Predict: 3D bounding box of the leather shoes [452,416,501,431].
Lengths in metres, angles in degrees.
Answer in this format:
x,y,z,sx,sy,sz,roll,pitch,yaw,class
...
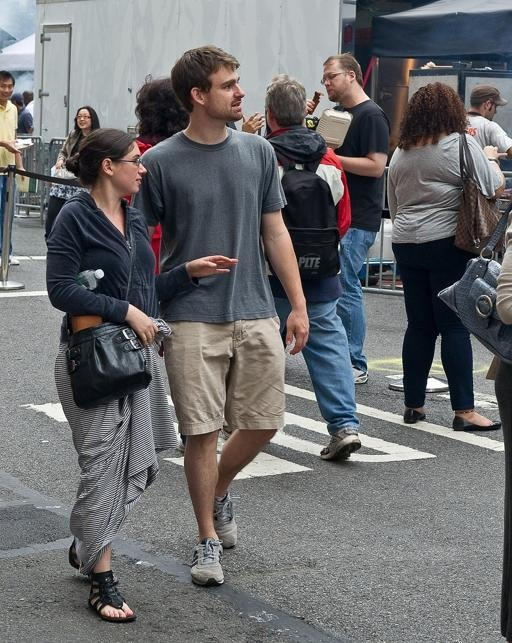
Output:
x,y,z,sx,sy,sz,roll,pitch,yaw,class
1.496,0.689,4.792,0.365,0.115,0.109,-1,2,-5,leather shoes

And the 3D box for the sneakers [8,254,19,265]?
x,y,z,sx,sy,sz,roll,pitch,yaw,class
-3.796,-0.958,11.207,0.116,0.106,0.286,-1,5,-23,sneakers

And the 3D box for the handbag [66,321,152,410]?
x,y,z,sx,sy,sz,roll,pitch,yaw,class
-0.430,0.117,2.054,0.230,0.189,0.135,-21,-19,-9,handbag

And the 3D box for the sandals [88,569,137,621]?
x,y,z,sx,sy,sz,roll,pitch,yaw,class
-0.448,0.813,2.171,0.086,0.090,0.216,-4,7,-31,sandals

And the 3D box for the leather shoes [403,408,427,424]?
x,y,z,sx,sy,sz,roll,pitch,yaw,class
1.079,0.643,4.901,0.075,0.065,0.175,2,5,17,leather shoes

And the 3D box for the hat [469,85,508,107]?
x,y,z,sx,sy,sz,roll,pitch,yaw,class
2.813,-2.661,8.455,0.444,0.184,0.265,-7,20,-13,hat

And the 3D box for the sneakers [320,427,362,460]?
x,y,z,sx,sy,sz,roll,pitch,yaw,class
0.516,0.698,4.095,0.127,0.130,0.293,-11,-13,-32,sneakers

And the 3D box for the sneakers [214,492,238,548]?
x,y,z,sx,sy,sz,roll,pitch,yaw,class
-0.111,0.777,2.804,0.088,0.208,0.099,-10,0,0,sneakers

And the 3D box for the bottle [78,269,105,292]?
x,y,z,sx,sy,sz,roll,pitch,yaw,class
-0.476,-0.125,2.115,0.076,0.064,0.055,-19,-10,9,bottle

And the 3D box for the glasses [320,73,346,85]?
x,y,z,sx,sy,sz,roll,pitch,yaw,class
0.616,-1.972,5.789,0.122,0.030,0.113,-4,-4,-32,glasses

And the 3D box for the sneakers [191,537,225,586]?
x,y,z,sx,sy,sz,roll,pitch,yaw,class
-0.162,0.813,2.444,0.085,0.077,0.191,0,12,-5,sneakers

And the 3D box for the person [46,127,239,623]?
x,y,z,sx,sy,sz,roll,pitch,yaw,class
-0.420,0.143,2.261,0.432,1.491,0.522,6,4,31,person
